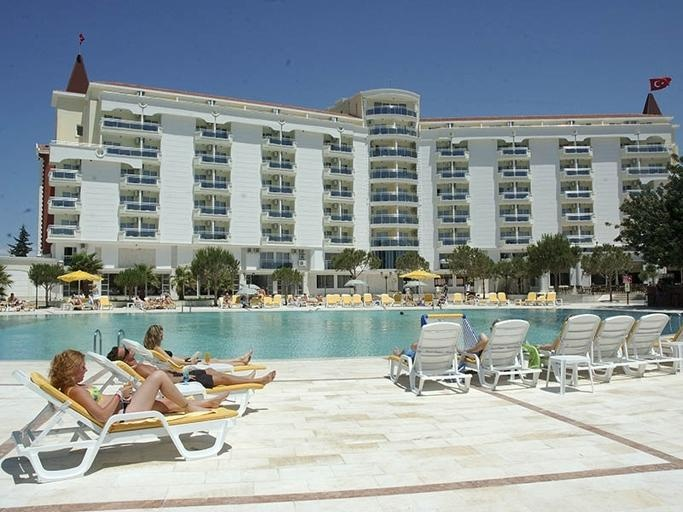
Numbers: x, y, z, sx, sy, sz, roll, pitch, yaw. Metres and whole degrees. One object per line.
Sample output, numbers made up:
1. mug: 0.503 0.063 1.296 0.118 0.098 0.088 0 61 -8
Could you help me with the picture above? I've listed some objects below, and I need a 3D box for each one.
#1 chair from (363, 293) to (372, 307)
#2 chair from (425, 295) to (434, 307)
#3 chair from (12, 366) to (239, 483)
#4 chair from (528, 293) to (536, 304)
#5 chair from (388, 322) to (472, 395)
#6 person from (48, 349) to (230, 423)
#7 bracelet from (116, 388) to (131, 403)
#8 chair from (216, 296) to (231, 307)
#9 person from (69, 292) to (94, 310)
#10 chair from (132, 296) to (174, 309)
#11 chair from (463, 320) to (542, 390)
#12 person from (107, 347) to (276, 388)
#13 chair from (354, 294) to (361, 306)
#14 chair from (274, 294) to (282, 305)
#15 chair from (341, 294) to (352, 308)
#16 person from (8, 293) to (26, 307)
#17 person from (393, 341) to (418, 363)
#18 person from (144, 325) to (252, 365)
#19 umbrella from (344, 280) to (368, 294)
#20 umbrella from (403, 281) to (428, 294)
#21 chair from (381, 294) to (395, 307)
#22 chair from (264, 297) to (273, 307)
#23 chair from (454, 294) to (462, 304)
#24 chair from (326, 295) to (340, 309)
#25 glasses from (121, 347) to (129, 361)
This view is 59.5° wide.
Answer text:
1. chair: 2.321 3.301 45.782 0.780 0.868 0.900 2 -5 -3
2. chair: 7.166 3.417 46.336 0.758 0.893 0.739 0 -4 4
3. chair: -2.785 2.061 8.044 2.821 1.187 1.391 -1 0 -22
4. chair: 15.376 3.365 47.709 0.621 0.819 1.128 -1 -2 16
5. chair: 1.750 1.841 11.290 1.114 1.303 1.536 0 -2 -14
6. person: -2.730 1.787 8.008 2.399 0.752 1.088 1 11 -17
7. bracelet: -2.968 1.874 8.124 0.177 0.179 0.215 2 -16 -19
8. chair: -9.242 3.684 46.712 1.201 1.010 1.138 0 1 -30
9. person: -18.111 3.243 41.512 1.514 0.623 1.994 2 0 -17
10. chair: -13.567 3.423 43.790 1.679 0.661 2.036 0 -2 4
11. chair: 3.167 1.825 11.584 1.313 1.273 1.273 0 -2 -24
12. person: -2.431 1.893 9.552 2.000 0.525 1.077 1 -3 -17
13. chair: 1.290 3.410 47.074 0.758 0.859 0.825 1 -6 -7
14. chair: -4.940 3.413 46.176 0.548 0.785 0.611 -1 -2 10
15. chair: 0.458 3.458 46.708 0.731 0.828 0.929 1 -9 -6
16. person: -24.830 3.297 45.406 1.068 0.432 1.393 0 2 -39
17. person: 1.325 1.876 11.723 0.361 0.290 0.753 -4 -1 -8
18. person: -2.617 1.737 11.014 2.135 0.774 0.794 2 -3 -24
19. umbrella: 1.672 3.116 60.521 2.145 1.210 2.074 1 1 24
20. umbrella: 7.325 3.015 59.046 2.263 1.350 2.211 -2 3 -39
21. chair: 3.703 3.344 46.015 0.989 0.842 3.290 -1 -2 7
22. chair: -5.517 3.425 45.480 0.949 0.796 0.657 1 5 1
23. chair: 10.083 3.478 49.783 0.802 0.953 0.783 1 -3 -1
24. chair: -0.574 3.385 46.086 1.530 1.200 0.780 0 7 -7
25. glasses: -3.492 1.578 9.643 0.148 0.160 0.168 3 2 1
